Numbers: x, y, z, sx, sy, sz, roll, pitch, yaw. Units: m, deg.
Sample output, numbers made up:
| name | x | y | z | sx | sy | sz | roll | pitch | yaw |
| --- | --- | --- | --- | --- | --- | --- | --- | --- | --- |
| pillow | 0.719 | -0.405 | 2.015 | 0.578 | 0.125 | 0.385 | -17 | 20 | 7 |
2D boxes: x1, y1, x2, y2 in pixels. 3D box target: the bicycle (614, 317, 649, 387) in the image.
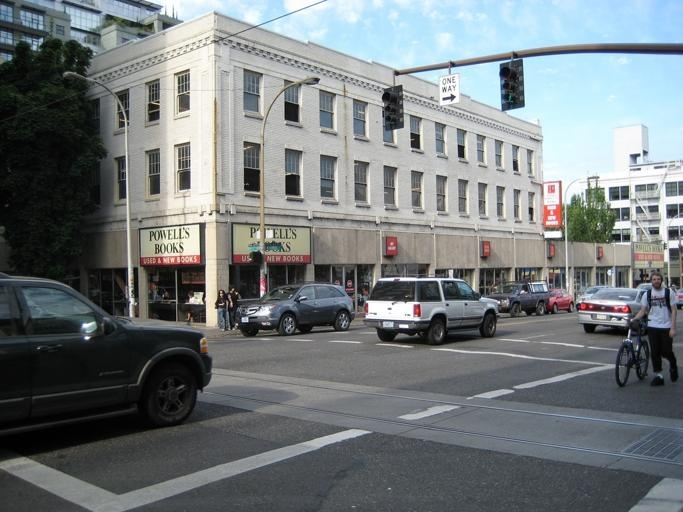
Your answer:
| name | x | y | z | sx | sy | sz | roll | pitch | yaw |
| --- | --- | --- | --- | --- | --- | --- | --- | --- | --- |
| bicycle | 5.934 | 1.994 | 14.464 | 0.790 | 1.112 | 1.778 | -2 | -7 | 31 |

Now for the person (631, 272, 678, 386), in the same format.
| name | x | y | z | sx | sy | sz | roll | pitch | yaw |
| --- | --- | --- | --- | --- | --- | --- | --- | --- | --- |
| person | 6.286 | 1.425 | 14.085 | 0.717 | 2.265 | 1.372 | 1 | 3 | 25 |

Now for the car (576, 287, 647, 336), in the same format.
| name | x | y | z | sx | sy | sz | roll | pitch | yaw |
| --- | --- | --- | --- | --- | --- | --- | --- | --- | --- |
| car | 9.014 | 2.185 | 23.816 | 1.746 | 1.409 | 3.988 | -2 | 2 | 32 |

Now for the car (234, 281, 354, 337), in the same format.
| name | x | y | z | sx | sy | sz | roll | pitch | yaw |
| --- | --- | --- | --- | --- | --- | --- | --- | --- | --- |
| car | -1.729 | 1.975 | 26.183 | 1.822 | 1.607 | 3.619 | -9 | -10 | 43 |

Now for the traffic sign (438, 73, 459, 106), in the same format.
| name | x | y | z | sx | sy | sz | roll | pitch | yaw |
| --- | --- | --- | --- | --- | --- | --- | --- | --- | --- |
| traffic sign | 3.090 | -4.850 | 20.378 | 0.490 | 0.836 | 0.845 | 0 | 2 | 1 |

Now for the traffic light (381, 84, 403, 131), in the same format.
| name | x | y | z | sx | sy | sz | roll | pitch | yaw |
| --- | --- | --- | --- | --- | --- | --- | --- | --- | --- |
| traffic light | 1.431 | -4.237 | 19.873 | 0.544 | 1.252 | 0.722 | 0 | 2 | 0 |

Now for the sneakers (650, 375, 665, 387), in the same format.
| name | x | y | z | sx | sy | sz | roll | pitch | yaw |
| --- | --- | --- | --- | --- | --- | --- | --- | --- | --- |
| sneakers | 6.222 | 2.462 | 14.014 | 0.146 | 0.189 | 0.443 | -5 | -6 | 41 |

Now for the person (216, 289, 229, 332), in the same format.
| name | x | y | z | sx | sy | sz | roll | pitch | yaw |
| --- | --- | --- | --- | --- | --- | --- | --- | --- | --- |
| person | -4.764 | 2.124 | 28.273 | 0.463 | 1.573 | 0.478 | 0 | 2 | 4 |

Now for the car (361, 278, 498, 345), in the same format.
| name | x | y | z | sx | sy | sz | roll | pitch | yaw |
| --- | --- | --- | --- | --- | --- | --- | --- | --- | --- |
| car | 2.911 | 1.549 | 22.146 | 1.811 | 1.580 | 3.546 | -1 | 2 | 44 |

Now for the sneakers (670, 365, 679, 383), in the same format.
| name | x | y | z | sx | sy | sz | roll | pitch | yaw |
| --- | --- | --- | --- | --- | --- | --- | --- | --- | --- |
| sneakers | 6.678 | 2.382 | 14.266 | 0.150 | 0.494 | 0.187 | 3 | 3 | 27 |

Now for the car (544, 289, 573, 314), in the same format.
| name | x | y | z | sx | sy | sz | roll | pitch | yaw |
| --- | --- | --- | --- | --- | --- | --- | --- | --- | --- |
| car | 12.054 | 2.498 | 39.566 | 1.107 | 0.936 | 1.919 | -7 | -10 | 44 |

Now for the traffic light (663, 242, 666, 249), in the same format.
| name | x | y | z | sx | sy | sz | roll | pitch | yaw |
| --- | --- | --- | --- | --- | --- | --- | --- | --- | --- |
| traffic light | 40.695 | -1.404 | 89.584 | 0.223 | 1.004 | 1.041 | -3 | -22 | 21 |

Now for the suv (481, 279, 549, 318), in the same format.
| name | x | y | z | sx | sy | sz | roll | pitch | yaw |
| --- | --- | --- | --- | --- | --- | --- | --- | --- | --- |
| suv | 9.097 | 2.208 | 37.184 | 3.168 | 1.672 | 1.811 | 5 | -8 | -42 |
